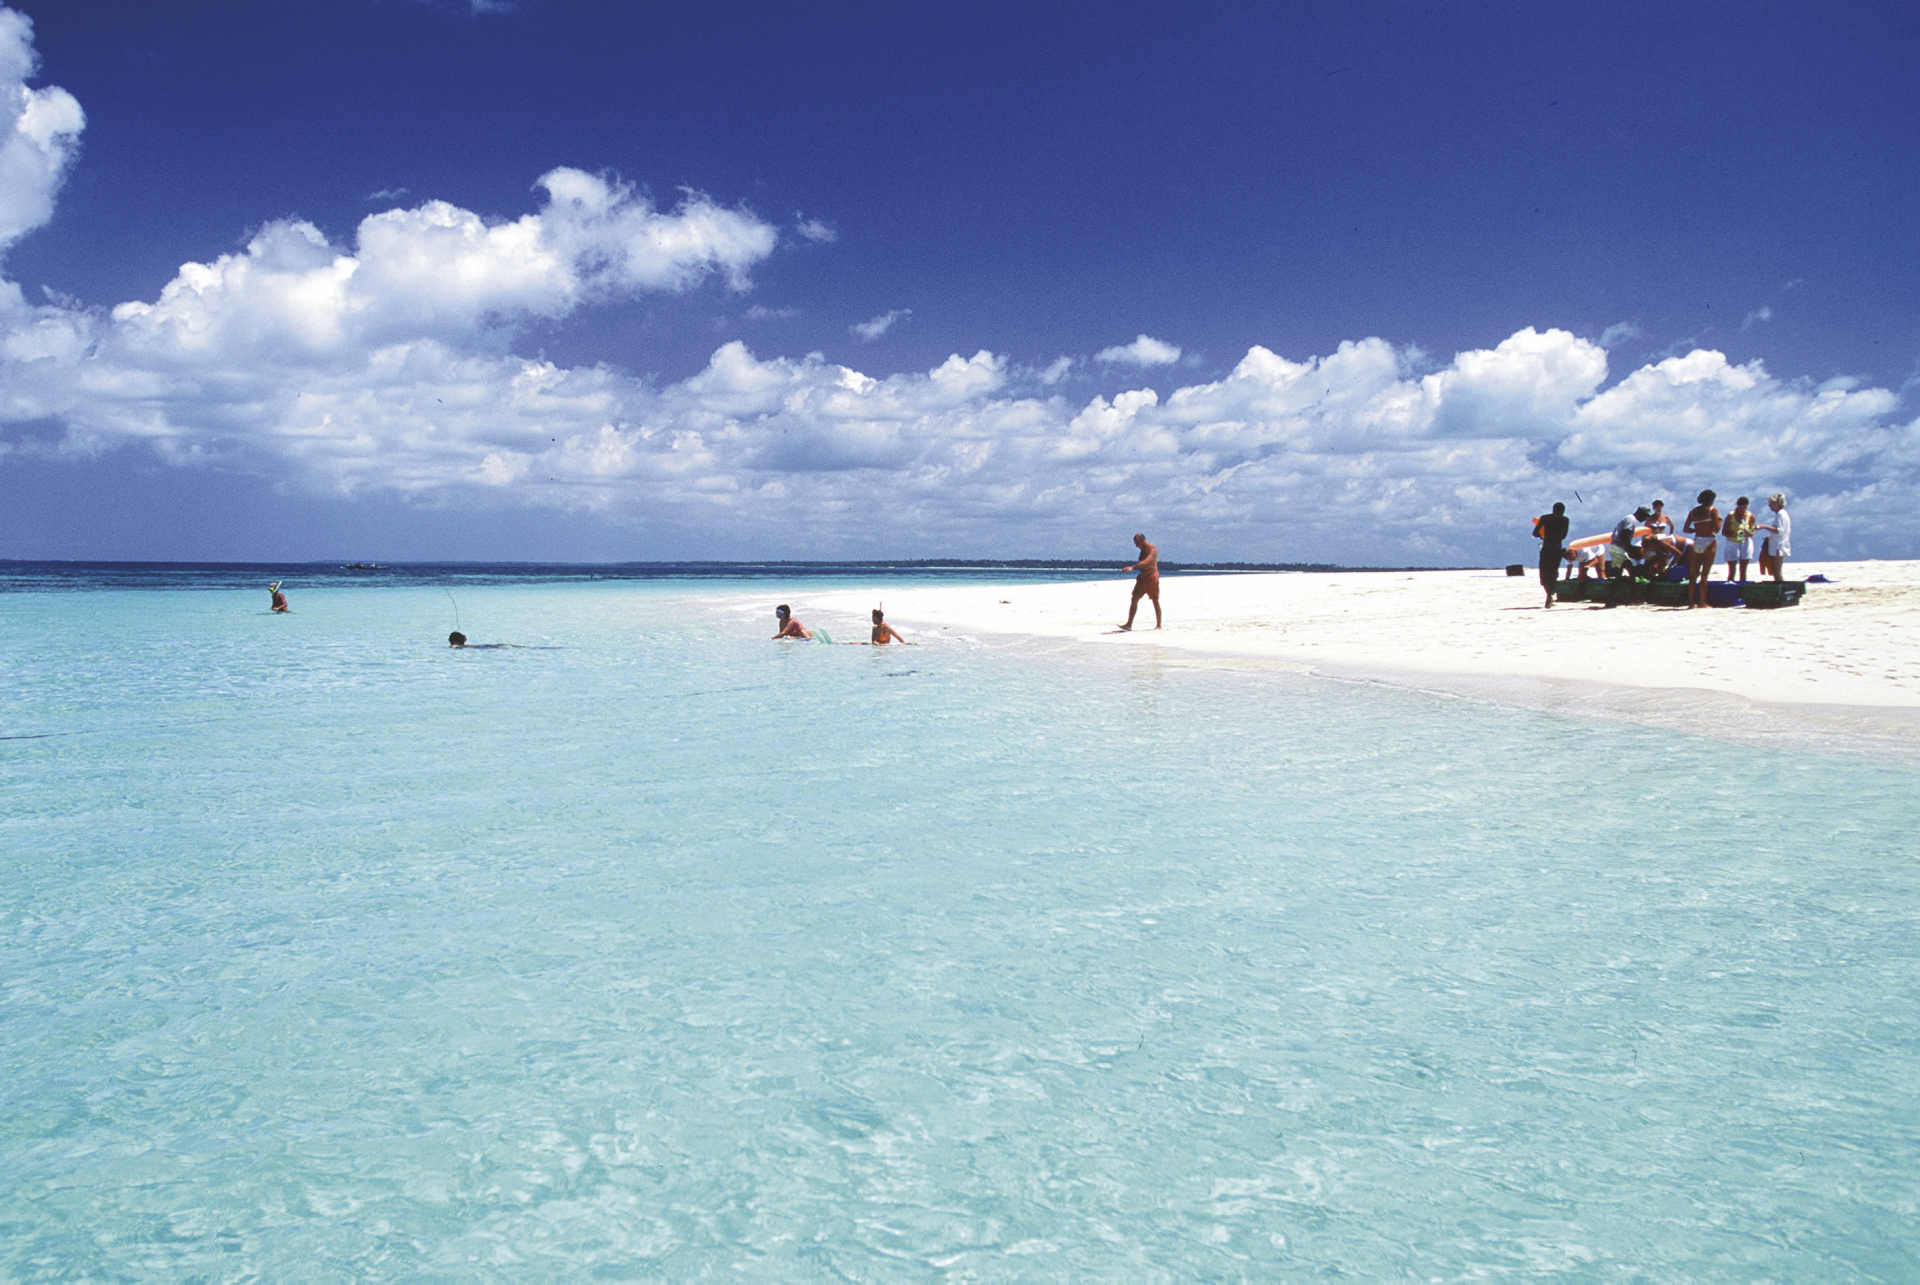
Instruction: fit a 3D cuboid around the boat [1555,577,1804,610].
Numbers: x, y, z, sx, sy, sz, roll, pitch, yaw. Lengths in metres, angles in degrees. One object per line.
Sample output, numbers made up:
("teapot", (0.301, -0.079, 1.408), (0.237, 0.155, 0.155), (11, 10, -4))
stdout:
("boat", (15.524, -1.238, 26.515), (5.142, 0.577, 1.213), (4, 2, 39))
